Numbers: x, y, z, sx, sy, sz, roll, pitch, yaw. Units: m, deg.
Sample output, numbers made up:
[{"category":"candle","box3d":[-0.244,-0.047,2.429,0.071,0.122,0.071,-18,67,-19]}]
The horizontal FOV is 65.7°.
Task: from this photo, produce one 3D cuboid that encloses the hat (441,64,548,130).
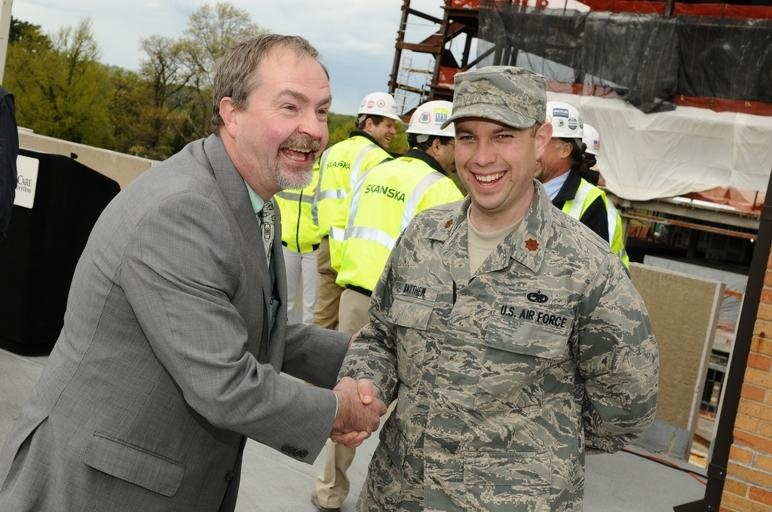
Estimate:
[{"category":"hat","box3d":[0.533,-0.698,2.734,0.299,0.205,0.390,0,-6,39]}]
